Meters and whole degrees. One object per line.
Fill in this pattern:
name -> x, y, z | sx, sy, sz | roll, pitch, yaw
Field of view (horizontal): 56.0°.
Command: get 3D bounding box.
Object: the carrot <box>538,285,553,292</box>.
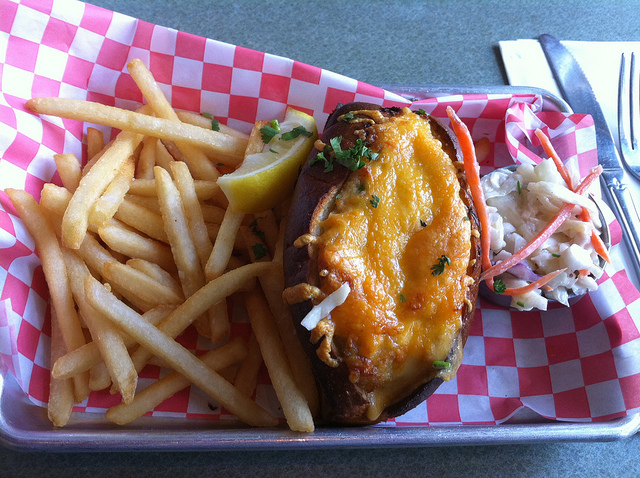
carrot -> 0.918, 0.196, 2.434 | 0.034, 0.022, 0.012 | 24, 45, -9

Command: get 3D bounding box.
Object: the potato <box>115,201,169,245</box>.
potato -> -0.708, -0.082, 2.444 | 0.239, 0.095, 0.097 | 27, 78, 3

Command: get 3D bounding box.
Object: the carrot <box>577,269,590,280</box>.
carrot -> 1.068, 0.137, 2.435 | 0.033, 0.014, 0.045 | 5, 97, 0
